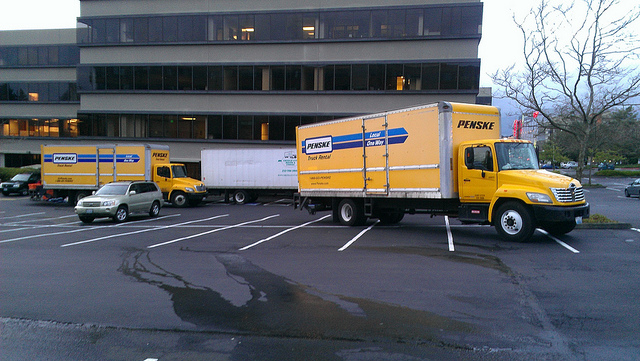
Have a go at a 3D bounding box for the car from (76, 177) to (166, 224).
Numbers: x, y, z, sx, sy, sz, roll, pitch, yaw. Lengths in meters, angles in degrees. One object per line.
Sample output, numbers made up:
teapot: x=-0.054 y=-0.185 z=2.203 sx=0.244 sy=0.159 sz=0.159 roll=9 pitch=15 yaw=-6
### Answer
car: x=-12.715 y=1.289 z=33.367 sx=1.748 sy=2.404 sz=4.990 roll=0 pitch=4 yaw=34
